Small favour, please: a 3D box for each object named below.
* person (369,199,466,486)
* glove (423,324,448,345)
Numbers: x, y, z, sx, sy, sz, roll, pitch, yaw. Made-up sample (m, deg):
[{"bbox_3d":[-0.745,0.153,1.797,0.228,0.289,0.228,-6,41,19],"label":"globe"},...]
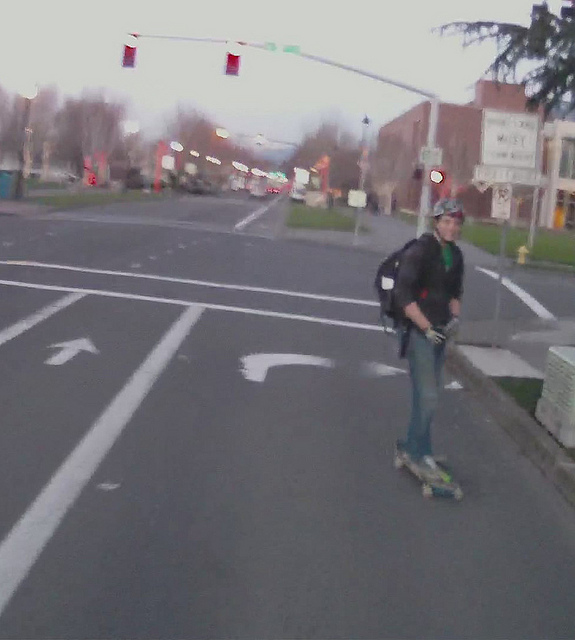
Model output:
[{"bbox_3d":[0.959,0.106,3.849,0.664,1.936,0.620,3,6,0],"label":"person"},{"bbox_3d":[1.008,0.094,3.664,0.112,0.066,0.175,14,28,3],"label":"glove"}]
